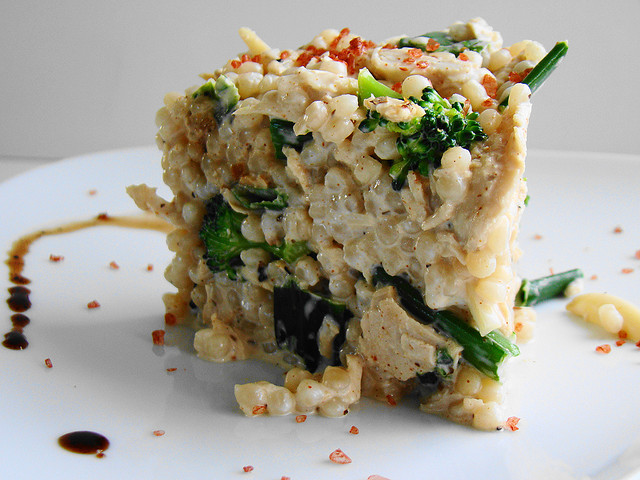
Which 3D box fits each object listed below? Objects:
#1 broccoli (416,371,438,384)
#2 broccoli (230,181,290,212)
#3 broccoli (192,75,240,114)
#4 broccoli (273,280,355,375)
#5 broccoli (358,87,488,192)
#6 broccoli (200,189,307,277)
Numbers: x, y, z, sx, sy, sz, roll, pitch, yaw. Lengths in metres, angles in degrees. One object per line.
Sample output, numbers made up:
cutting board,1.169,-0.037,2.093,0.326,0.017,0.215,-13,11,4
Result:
broccoli,0.365,0.471,2.866,0.054,0.052,0.015,-1,19,22
broccoli,-0.222,-0.151,3.030,0.177,0.106,0.048,25,35,18
broccoli,-0.381,-0.532,3.064,0.180,0.128,0.054,9,19,22
broccoli,-0.039,0.308,2.985,0.313,0.320,0.117,6,33,14
broccoli,0.353,-0.325,2.744,0.351,0.340,0.162,-15,-7,-2
broccoli,-0.278,-0.028,3.205,0.305,0.359,0.117,-2,14,37
